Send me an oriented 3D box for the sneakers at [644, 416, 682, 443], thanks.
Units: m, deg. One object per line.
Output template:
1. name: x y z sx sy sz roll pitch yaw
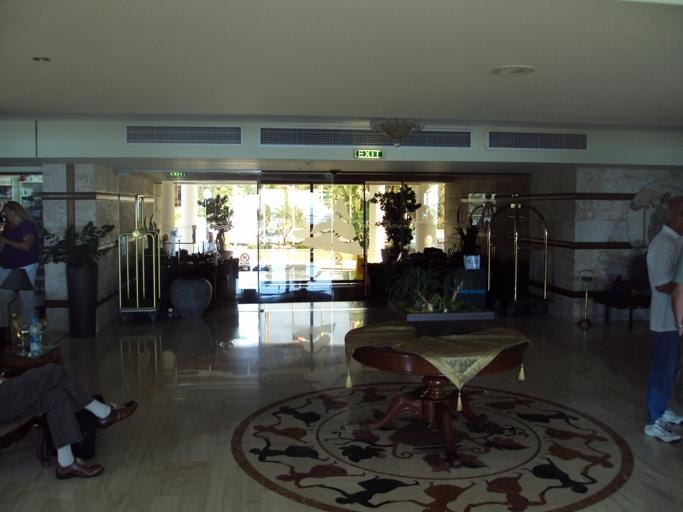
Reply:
1. sneakers: 2.851 1.574 5.008 0.121 0.157 0.338 -4 -4 -35

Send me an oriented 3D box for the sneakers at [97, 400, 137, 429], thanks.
1. sneakers: -1.924 1.350 4.809 0.352 0.148 0.144 -15 28 -43

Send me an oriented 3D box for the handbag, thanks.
1. handbag: -2.149 1.471 4.583 0.149 0.418 0.418 -7 -11 36

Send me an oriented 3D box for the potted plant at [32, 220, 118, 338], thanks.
1. potted plant: -3.946 0.361 8.254 0.920 1.565 1.112 -11 -4 39

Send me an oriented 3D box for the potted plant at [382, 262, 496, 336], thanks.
1. potted plant: 0.869 0.388 5.406 0.762 0.506 1.013 -4 9 -26

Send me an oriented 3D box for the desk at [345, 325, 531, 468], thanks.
1. desk: 0.817 1.217 5.063 1.612 0.928 1.710 4 0 7

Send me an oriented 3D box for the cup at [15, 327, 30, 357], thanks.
1. cup: -2.947 0.790 5.118 0.085 0.236 0.174 -6 -4 16

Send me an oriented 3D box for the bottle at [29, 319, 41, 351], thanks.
1. bottle: -2.784 0.724 5.028 0.099 0.287 0.189 -5 9 -29

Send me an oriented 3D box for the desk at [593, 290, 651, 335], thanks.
1. desk: 4.537 0.871 8.864 0.626 0.537 0.867 -2 8 -12

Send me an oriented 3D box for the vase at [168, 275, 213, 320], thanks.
1. vase: -2.619 0.668 9.513 0.754 0.685 0.758 5 9 3
